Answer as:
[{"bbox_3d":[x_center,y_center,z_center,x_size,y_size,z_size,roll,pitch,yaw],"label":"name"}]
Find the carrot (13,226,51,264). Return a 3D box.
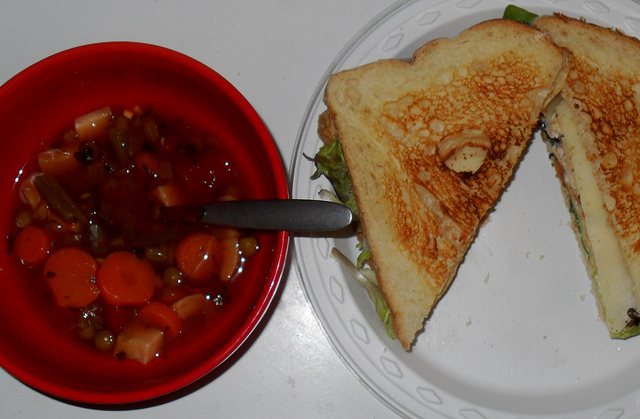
[{"bbox_3d":[-1.538,0.176,3.348,0.172,0.092,0.192,21,84,-4],"label":"carrot"}]

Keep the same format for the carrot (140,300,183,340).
[{"bbox_3d":[-0.831,0.569,3.286,0.237,0.059,0.144,26,80,6],"label":"carrot"}]

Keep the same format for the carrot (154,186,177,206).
[{"bbox_3d":[-0.812,-0.077,3.304,0.086,0.021,0.108,-15,94,-16],"label":"carrot"}]
